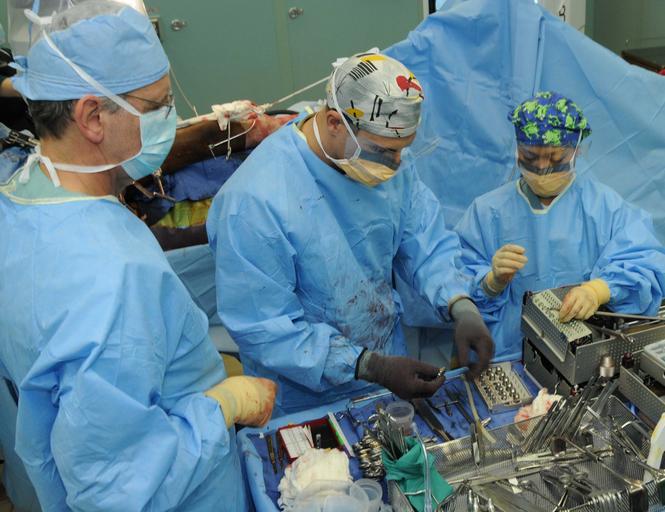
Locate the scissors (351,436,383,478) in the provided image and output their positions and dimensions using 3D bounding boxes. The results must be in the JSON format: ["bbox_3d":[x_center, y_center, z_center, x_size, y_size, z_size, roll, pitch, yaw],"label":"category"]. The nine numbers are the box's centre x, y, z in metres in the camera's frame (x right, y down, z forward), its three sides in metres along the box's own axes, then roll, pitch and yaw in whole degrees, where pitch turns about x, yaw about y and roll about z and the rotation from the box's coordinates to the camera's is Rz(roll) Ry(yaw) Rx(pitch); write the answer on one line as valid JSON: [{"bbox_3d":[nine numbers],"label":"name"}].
[{"bbox_3d":[0.116,0.614,1.969,0.067,0.048,0.112,-3,80,14],"label":"scissors"}]

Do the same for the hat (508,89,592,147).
[{"bbox_3d":[0.836,-0.500,2.483,0.220,0.163,0.240,-2,58,-9],"label":"hat"}]

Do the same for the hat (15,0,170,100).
[{"bbox_3d":[-0.647,-0.616,1.679,0.263,0.160,0.305,16,36,25],"label":"hat"}]

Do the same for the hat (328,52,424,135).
[{"bbox_3d":[0.137,-0.560,2.115,0.290,0.201,0.227,41,69,17],"label":"hat"}]

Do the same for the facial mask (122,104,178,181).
[{"bbox_3d":[-0.506,-0.314,1.841,0.152,0.153,0.178,10,37,-7],"label":"facial mask"}]

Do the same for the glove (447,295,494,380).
[{"bbox_3d":[0.538,0.291,2.306,0.122,0.249,0.286,-8,66,21],"label":"glove"}]

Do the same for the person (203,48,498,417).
[{"bbox_3d":[0.097,-0.059,2.444,0.712,1.167,0.766,27,48,28],"label":"person"}]
